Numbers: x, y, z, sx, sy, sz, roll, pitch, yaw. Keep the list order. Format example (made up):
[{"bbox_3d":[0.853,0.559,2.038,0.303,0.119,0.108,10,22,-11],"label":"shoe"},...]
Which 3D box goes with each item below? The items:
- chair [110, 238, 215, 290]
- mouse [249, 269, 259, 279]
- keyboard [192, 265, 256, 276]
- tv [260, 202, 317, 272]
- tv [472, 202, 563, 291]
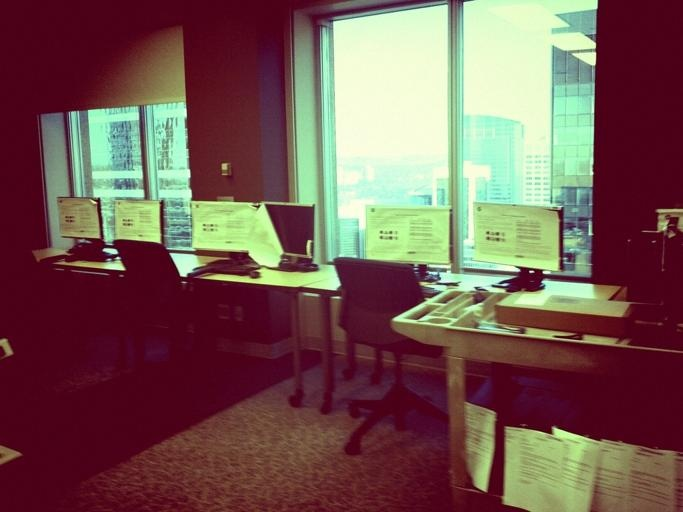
[{"bbox_3d":[-1.478,0.002,4.751,0.451,0.560,0.424,6,20,15],"label":"chair"},{"bbox_3d":[-0.723,0.153,4.769,0.070,0.040,0.067,-1,4,-30],"label":"mouse"},{"bbox_3d":[-0.999,0.125,4.938,0.303,0.039,0.194,2,5,17],"label":"keyboard"},{"bbox_3d":[-0.475,-0.166,4.953,0.535,0.610,0.378,-2,18,10],"label":"tv"},{"bbox_3d":[1.264,-0.078,4.180,0.662,0.550,0.346,4,9,42],"label":"tv"}]
